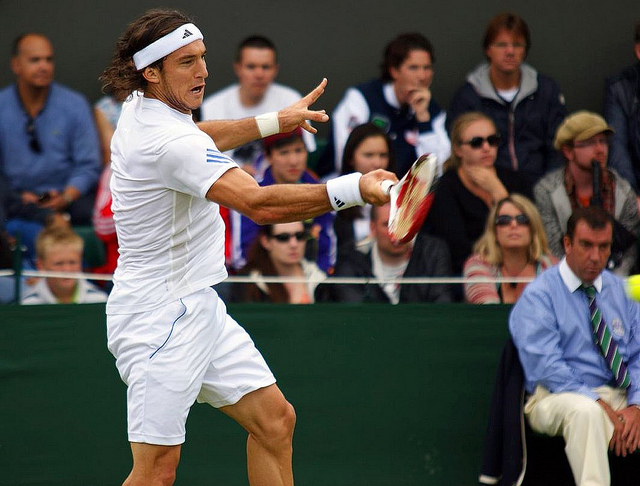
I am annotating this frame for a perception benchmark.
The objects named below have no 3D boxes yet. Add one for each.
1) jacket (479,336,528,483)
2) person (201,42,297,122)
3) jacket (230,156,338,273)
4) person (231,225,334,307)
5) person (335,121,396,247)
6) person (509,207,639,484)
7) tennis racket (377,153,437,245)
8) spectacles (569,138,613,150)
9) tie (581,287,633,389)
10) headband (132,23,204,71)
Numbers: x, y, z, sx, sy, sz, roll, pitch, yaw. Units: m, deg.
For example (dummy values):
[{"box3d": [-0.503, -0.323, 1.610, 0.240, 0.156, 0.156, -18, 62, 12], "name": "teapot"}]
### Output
[{"box3d": [1.062, 0.946, 5.880, 0.257, 0.780, 0.274, -6, 5, -38], "name": "jacket"}, {"box3d": [-0.467, -1.164, 7.744, 0.989, 0.619, 0.429, -2, 15, -9], "name": "person"}, {"box3d": [-0.294, -0.196, 7.395, 0.700, 0.798, 0.280, 0, 1, 5], "name": "jacket"}, {"box3d": [-0.224, 0.087, 6.963, 0.935, 0.567, 0.421, -3, 3, -28], "name": "person"}, {"box3d": [0.291, -0.392, 7.029, 0.242, 0.718, 0.559, -1, 13, -4], "name": "person"}, {"box3d": [1.484, 0.534, 5.819, 0.752, 1.457, 0.528, -3, 4, -8], "name": "person"}, {"box3d": [0.412, -0.205, 4.966, 0.235, 0.418, 0.430, -2, 4, 16], "name": "tennis racket"}, {"box3d": [1.654, -0.606, 6.437, 0.272, 0.062, 0.030, -3, 4, -7], "name": "spectacles"}, {"box3d": [1.590, 0.551, 5.966, 0.146, 0.618, 0.055, -19, -14, -25], "name": "tie"}, {"box3d": [-0.769, -0.965, 5.262, 0.358, 0.134, 0.265, -21, 3, 14], "name": "headband"}]
